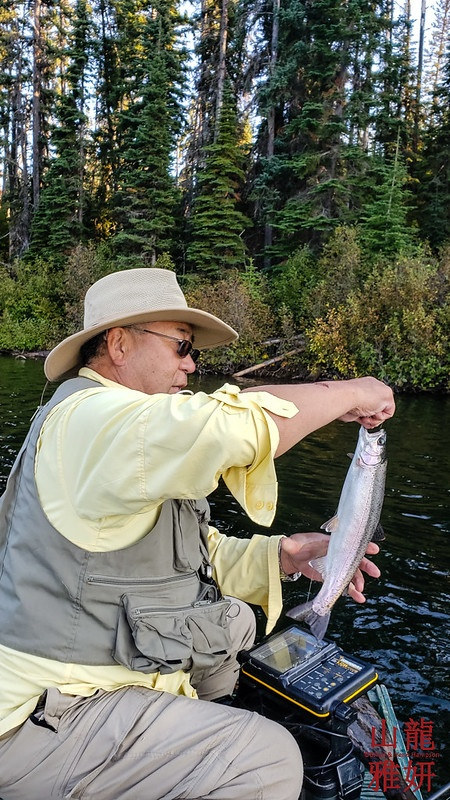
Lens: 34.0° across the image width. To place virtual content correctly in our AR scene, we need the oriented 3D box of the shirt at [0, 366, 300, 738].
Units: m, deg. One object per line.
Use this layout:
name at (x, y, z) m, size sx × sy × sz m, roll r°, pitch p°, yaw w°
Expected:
shirt at (-0.191, 0.475, 2.549) m, size 0.841 × 1.133 × 1.256 m, roll 4°, pitch 5°, yaw 7°

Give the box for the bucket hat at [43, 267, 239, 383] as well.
bucket hat at (-0.351, -0.290, 2.589) m, size 0.690 × 0.286 × 0.581 m, roll -13°, pitch -3°, yaw -8°

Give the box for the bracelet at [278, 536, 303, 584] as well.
bracelet at (0.252, 0.643, 2.947) m, size 0.144 × 0.157 × 0.131 m, roll 2°, pitch 9°, yaw -9°

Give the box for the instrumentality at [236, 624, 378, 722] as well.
instrumentality at (0.310, 1.026, 2.787) m, size 0.321 × 0.108 × 0.407 m, roll -19°, pitch 24°, yaw -39°
